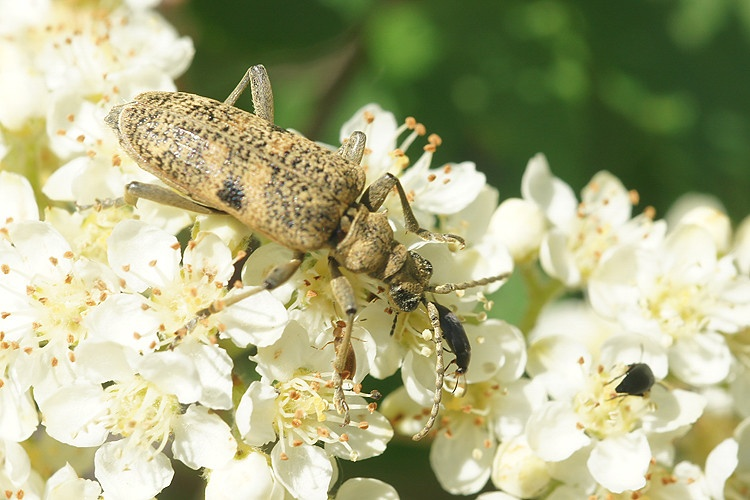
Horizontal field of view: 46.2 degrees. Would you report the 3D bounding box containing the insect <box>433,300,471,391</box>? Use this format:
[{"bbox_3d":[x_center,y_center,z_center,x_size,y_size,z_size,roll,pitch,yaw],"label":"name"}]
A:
[{"bbox_3d":[0.426,0.479,4.574,0.099,0.269,0.370,-12,96,20],"label":"insect"}]
